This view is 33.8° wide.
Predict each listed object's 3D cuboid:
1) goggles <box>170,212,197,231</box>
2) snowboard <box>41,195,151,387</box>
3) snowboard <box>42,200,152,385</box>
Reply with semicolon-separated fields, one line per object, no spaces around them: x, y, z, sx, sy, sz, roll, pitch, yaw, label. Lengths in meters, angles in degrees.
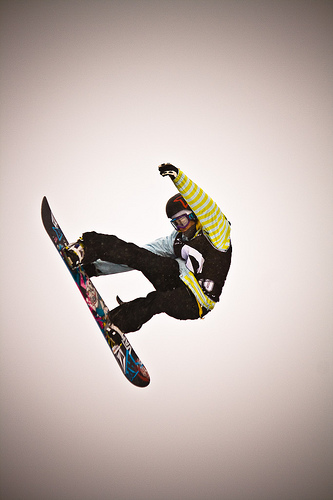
0.130;-0.236;4.570;0.128;0.079;0.161;-15;13;46;goggles
-0.465;0.276;4.159;0.215;1.769;0.096;-24;13;43;snowboard
-0.463;0.277;4.168;0.249;1.669;0.231;-32;19;-9;snowboard
